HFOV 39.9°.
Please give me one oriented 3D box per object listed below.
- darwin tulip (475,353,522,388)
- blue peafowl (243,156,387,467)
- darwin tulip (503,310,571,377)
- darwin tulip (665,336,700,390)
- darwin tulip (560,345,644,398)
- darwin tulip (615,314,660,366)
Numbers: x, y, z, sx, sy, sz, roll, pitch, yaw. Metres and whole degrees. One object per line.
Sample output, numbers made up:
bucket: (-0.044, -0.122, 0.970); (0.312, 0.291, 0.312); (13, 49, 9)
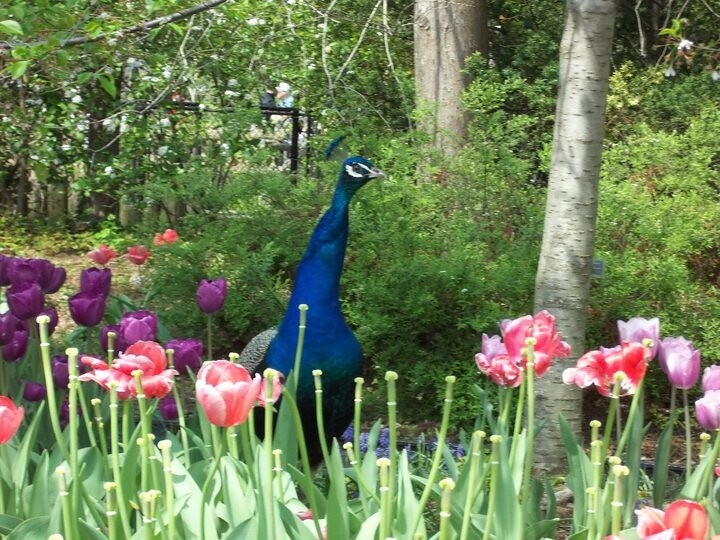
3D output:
darwin tulip: (0.604, 0.453, 4.265); (0.216, 0.085, 0.219); (4, -12, -14)
blue peafowl: (-0.168, 0.233, 5.331); (0.408, 1.372, 0.623); (-2, -1, 34)
darwin tulip: (0.703, 0.320, 4.199); (0.336, 0.220, 0.229); (-19, 36, -41)
darwin tulip: (1.385, 0.409, 4.308); (0.159, 0.219, 0.149); (-2, -1, 12)
darwin tulip: (1.006, 0.402, 4.041); (0.341, 0.208, 0.139); (-2, -1, 10)
darwin tulip: (1.211, 0.298, 4.303); (0.238, 0.181, 0.228); (2, 9, 35)
